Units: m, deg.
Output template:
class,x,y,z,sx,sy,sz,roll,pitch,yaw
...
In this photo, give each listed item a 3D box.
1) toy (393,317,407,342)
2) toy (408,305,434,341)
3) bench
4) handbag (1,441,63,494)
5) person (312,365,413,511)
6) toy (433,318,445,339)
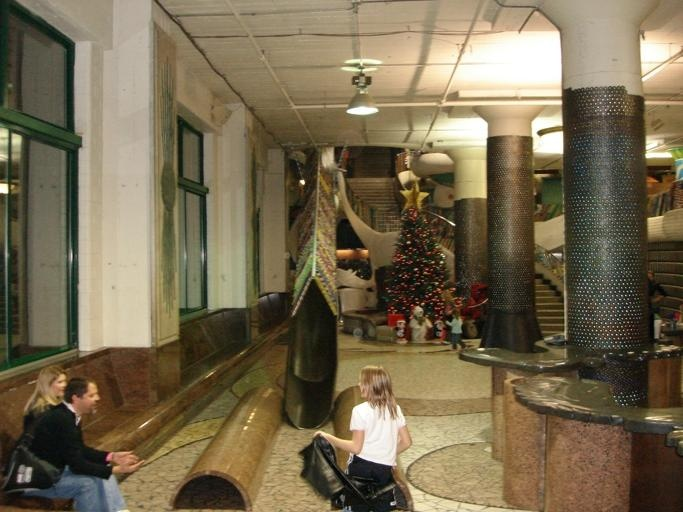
class,x,y,z,sx,sy,sz,roll,pitch,yaw
toy,1.338,1.664,12.367,0.257,0.510,0.333,0,2,4
toy,1.808,1.525,12.402,0.545,0.779,0.370,-1,2,-32
bench,-2.362,1.570,7.028,0.895,0.710,6.005,-22,-5,14
handbag,-2.095,1.451,3.766,0.431,0.331,0.171,-13,1,-22
person,0.185,1.139,3.744,0.544,0.783,0.210,0,2,-12
toy,2.220,1.674,12.457,0.256,0.448,0.198,0,2,7
